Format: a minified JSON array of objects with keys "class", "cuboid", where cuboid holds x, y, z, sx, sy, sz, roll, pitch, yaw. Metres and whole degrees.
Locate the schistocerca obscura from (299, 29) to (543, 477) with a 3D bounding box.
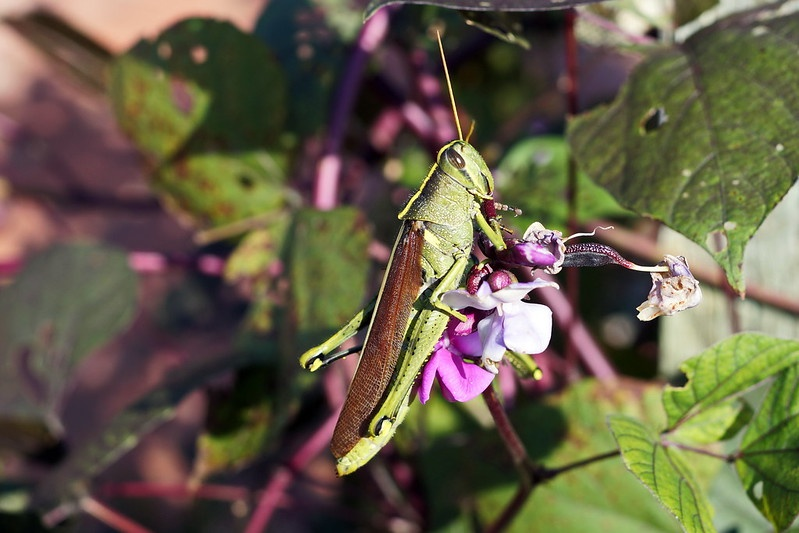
[{"class":"schistocerca obscura","cuboid":[0.027,0.012,1.085,0.179,0.526,0.166,0,-22,16]}]
